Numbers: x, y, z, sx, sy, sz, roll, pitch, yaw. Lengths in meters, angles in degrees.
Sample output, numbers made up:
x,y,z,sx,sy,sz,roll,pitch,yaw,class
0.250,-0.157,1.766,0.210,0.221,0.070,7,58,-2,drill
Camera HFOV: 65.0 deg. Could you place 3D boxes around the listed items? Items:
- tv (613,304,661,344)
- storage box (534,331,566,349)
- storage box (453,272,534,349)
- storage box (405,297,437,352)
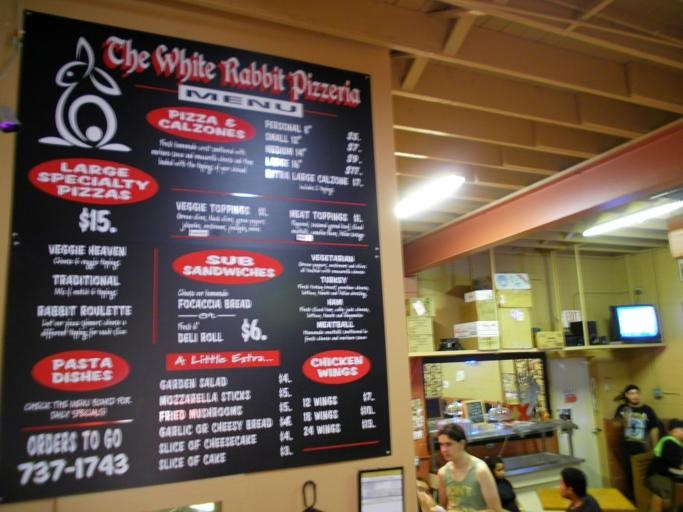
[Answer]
x,y,z,sx,sy,sz,roll,pitch,yaw,class
4.508,0.991,8.061,0.451,0.510,0.576,2,-9,-38,tv
2.943,1.195,7.577,0.523,0.250,0.175,4,-12,-34,storage box
2.227,0.866,7.991,1.129,1.334,1.045,2,-10,-7,storage box
1.013,0.904,7.065,0.412,0.726,0.182,2,-11,-22,storage box
